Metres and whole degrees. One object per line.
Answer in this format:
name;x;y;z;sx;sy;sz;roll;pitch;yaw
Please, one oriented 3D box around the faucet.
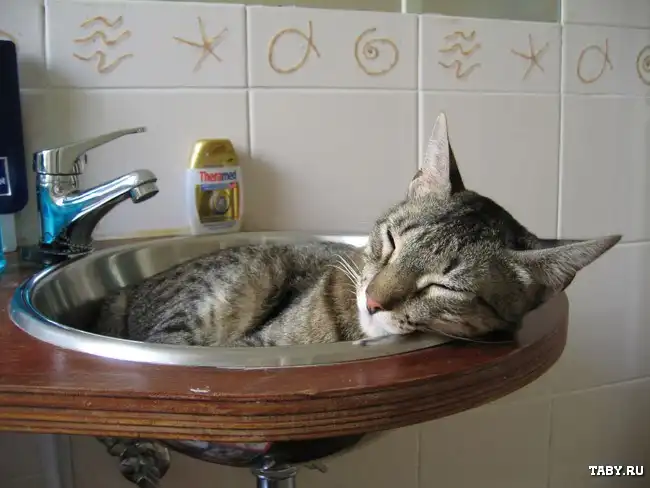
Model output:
faucet;-0.464;-0.098;1.192;0.282;0.246;0.114;0;13;10
